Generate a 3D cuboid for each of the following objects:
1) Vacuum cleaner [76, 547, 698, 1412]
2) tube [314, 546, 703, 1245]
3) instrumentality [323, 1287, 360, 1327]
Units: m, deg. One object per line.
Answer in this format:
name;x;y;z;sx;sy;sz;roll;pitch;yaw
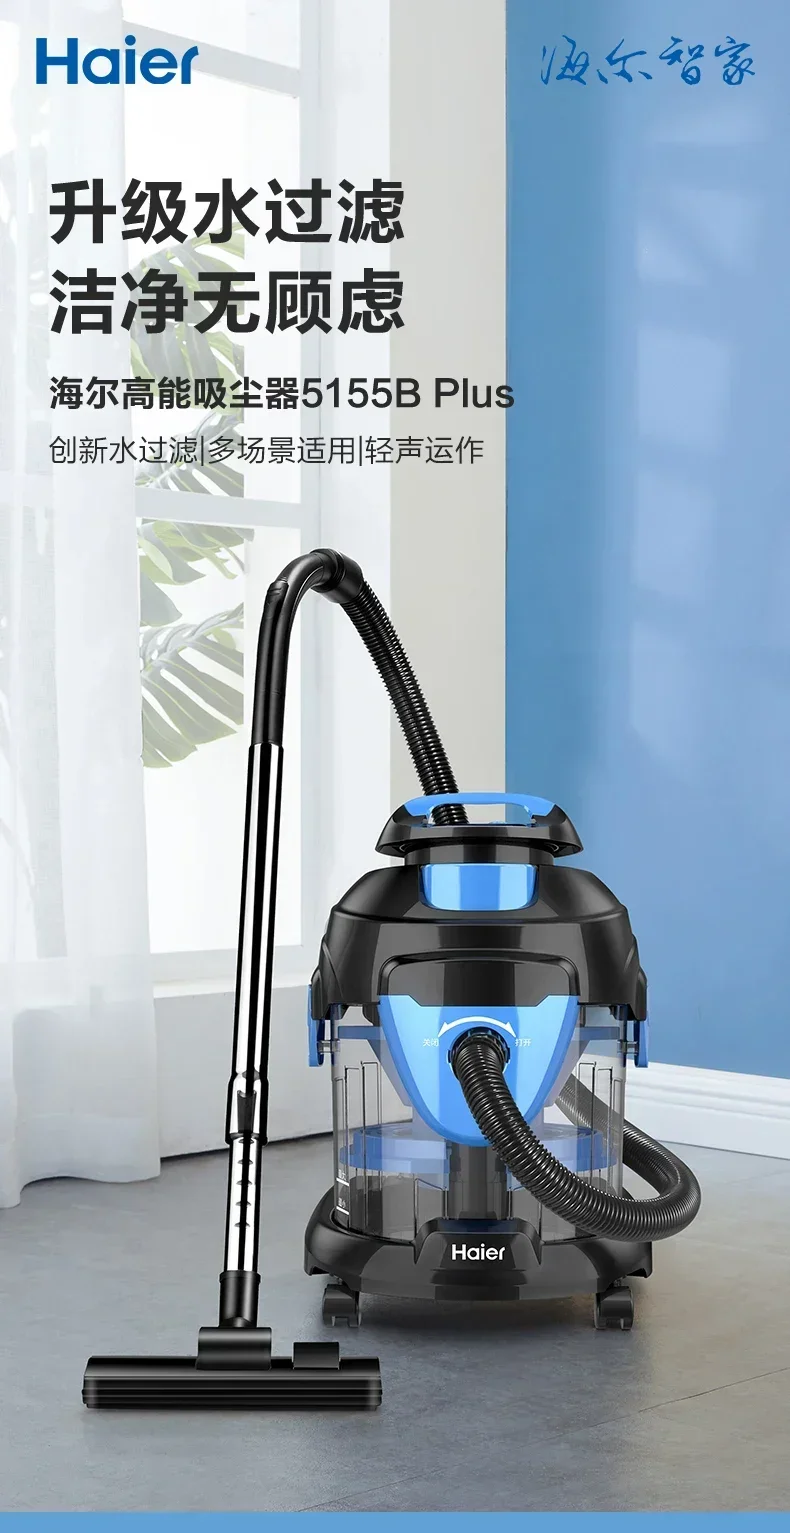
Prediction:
Vacuum cleaner;0.017;0.141;1.169;0.534;0.732;0.423;7;-6;-40
tube;0.167;0.106;1.234;0.372;0.626;0.478;3;-8;-22
instrumentality;-0.049;0.478;1.149;0.031;0.036;0.047;0;-3;6
